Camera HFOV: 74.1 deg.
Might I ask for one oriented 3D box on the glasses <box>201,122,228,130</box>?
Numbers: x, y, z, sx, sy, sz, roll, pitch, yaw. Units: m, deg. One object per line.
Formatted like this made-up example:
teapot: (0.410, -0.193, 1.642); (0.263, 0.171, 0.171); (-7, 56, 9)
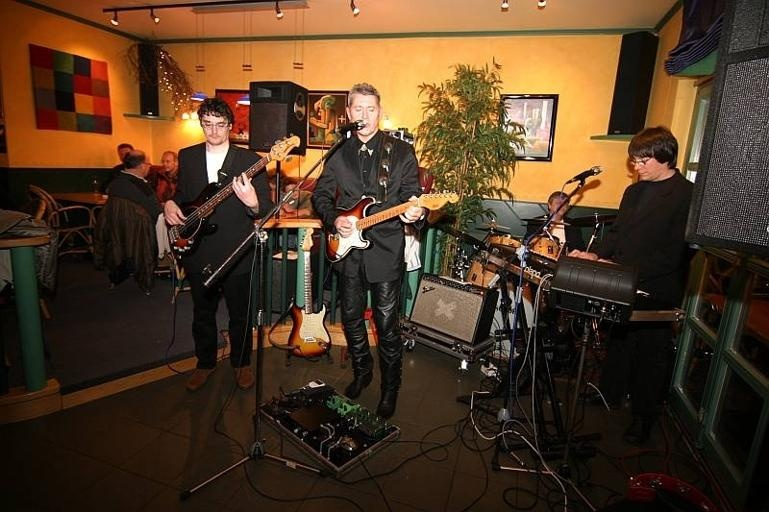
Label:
glasses: (-1.310, -1.015, 3.961); (0.195, 0.052, 0.064); (-3, 16, -20)

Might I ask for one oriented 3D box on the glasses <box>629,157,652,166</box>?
glasses: (2.048, -0.767, 4.076); (0.208, 0.061, 0.201); (-3, 8, -35)

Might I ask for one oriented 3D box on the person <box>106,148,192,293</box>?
person: (-2.940, -0.383, 6.013); (0.707, 1.711, 0.547); (14, 28, -3)

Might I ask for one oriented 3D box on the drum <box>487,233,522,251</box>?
drum: (1.146, -0.145, 4.913); (0.285, 0.126, 0.222); (21, 9, 43)

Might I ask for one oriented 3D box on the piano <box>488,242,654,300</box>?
piano: (1.214, 0.087, 3.684); (1.165, 0.269, 0.425); (13, 18, 32)

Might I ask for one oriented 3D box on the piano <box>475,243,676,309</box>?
piano: (1.362, 0.143, 3.519); (0.717, 0.252, 1.028); (18, 5, 38)

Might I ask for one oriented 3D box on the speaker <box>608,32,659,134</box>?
speaker: (3.043, -2.091, 6.205); (0.426, 1.195, 0.243); (5, 14, 9)

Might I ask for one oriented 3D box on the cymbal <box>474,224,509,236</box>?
cymbal: (1.341, -0.350, 6.427); (0.277, 0.106, 0.290); (8, 6, 20)

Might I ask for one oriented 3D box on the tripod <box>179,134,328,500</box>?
tripod: (-0.861, 0.355, 3.790); (1.040, 2.422, 1.079); (1, 14, -5)

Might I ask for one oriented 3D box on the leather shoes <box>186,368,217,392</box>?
leather shoes: (-1.580, 1.046, 4.339); (0.100, 0.108, 0.275); (25, 1, -8)

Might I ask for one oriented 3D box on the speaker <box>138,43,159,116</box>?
speaker: (-4.003, -2.994, 8.668); (0.369, 1.171, 0.226); (-1, 14, -13)

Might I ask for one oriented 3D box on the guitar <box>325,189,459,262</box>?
guitar: (0.030, -0.262, 4.231); (0.734, 0.292, 0.109); (-12, -6, 9)

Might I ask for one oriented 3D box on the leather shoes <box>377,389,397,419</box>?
leather shoes: (0.025, 1.200, 4.136); (0.094, 0.192, 0.179); (16, -14, 12)
